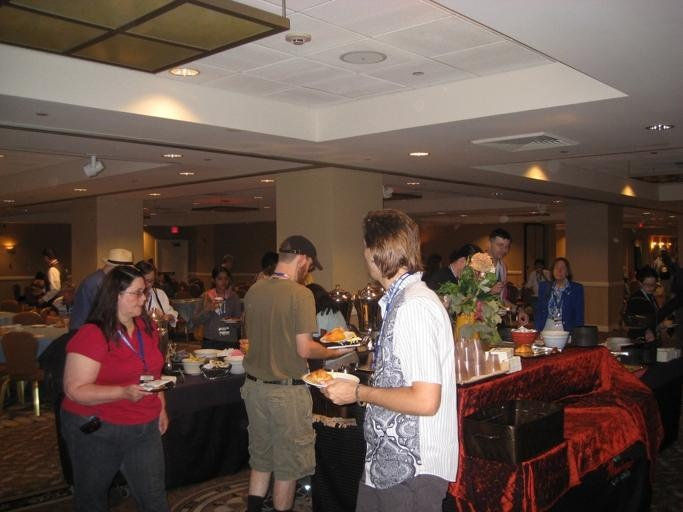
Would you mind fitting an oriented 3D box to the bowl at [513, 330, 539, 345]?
[{"bbox_3d":[1.248,0.539,3.427,0.121,0.073,0.121,0,-2,0],"label":"bowl"}]

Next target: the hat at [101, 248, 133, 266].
[{"bbox_3d":[-2.505,0.005,5.574,0.317,0.138,0.368,7,10,-4],"label":"hat"}]

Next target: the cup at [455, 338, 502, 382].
[{"bbox_3d":[0.726,0.559,2.698,0.282,0.264,0.173,0,-5,-8],"label":"cup"}]

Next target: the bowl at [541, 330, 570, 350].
[{"bbox_3d":[1.517,0.606,3.595,0.152,0.091,0.150,1,-12,0],"label":"bowl"}]

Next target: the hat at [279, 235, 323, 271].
[{"bbox_3d":[-0.241,-0.045,3.305,0.288,0.168,0.211,14,-10,0],"label":"hat"}]

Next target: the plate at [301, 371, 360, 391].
[{"bbox_3d":[-0.076,0.631,2.596,0.249,0.065,0.252,3,-1,22],"label":"plate"}]
